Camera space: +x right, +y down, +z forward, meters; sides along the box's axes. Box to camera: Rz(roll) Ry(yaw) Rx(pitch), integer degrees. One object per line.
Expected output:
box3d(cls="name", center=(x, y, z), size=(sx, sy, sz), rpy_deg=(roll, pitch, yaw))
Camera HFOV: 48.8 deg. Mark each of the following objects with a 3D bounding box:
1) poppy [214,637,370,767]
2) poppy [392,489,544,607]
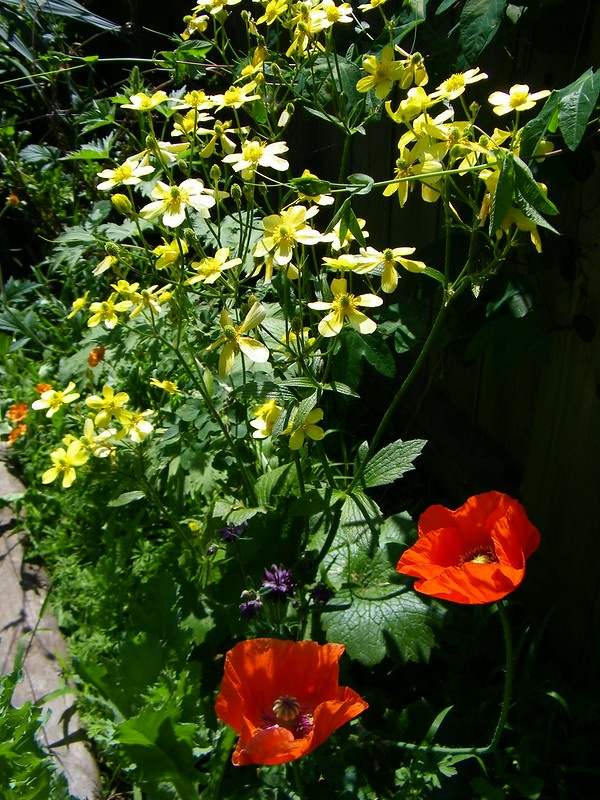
box3d(cls="poppy", center=(-0.008, 0.376, 0.808), size=(0.196, 0.094, 0.208), rpy_deg=(-9, 0, 19))
box3d(cls="poppy", center=(0.231, 0.192, 0.897), size=(0.175, 0.137, 0.213), rpy_deg=(3, 26, 20))
